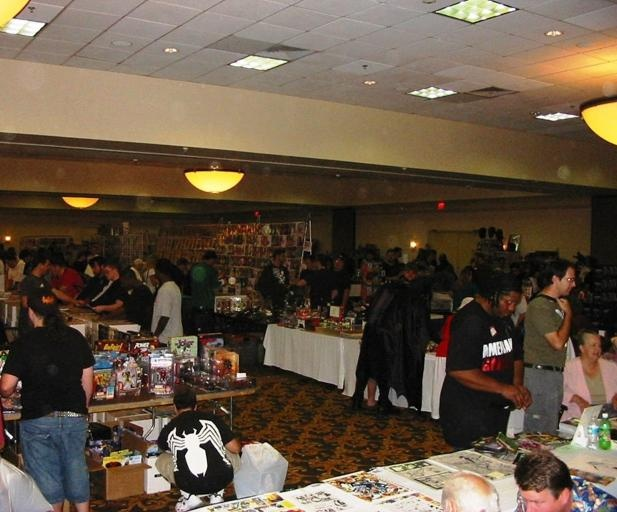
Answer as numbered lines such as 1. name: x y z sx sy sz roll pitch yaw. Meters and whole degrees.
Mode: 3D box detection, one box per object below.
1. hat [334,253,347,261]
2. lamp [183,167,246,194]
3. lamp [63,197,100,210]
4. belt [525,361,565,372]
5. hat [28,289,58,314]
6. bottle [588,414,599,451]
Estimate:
1. hat: 0.723 0.019 11.536 0.175 0.124 0.289 0 10 32
2. lamp: -1.721 -1.328 8.914 1.449 0.345 1.189 0 -1 -2
3. lamp: -5.267 -1.263 11.763 0.630 0.268 0.979 2 -1 -14
4. belt: 1.846 0.869 3.990 0.285 0.051 0.089 2 -1 15
5. hat: -1.721 0.285 3.287 0.216 0.086 0.146 21 21 27
6. bottle: 1.653 1.020 2.947 0.058 0.143 0.109 3 0 37
